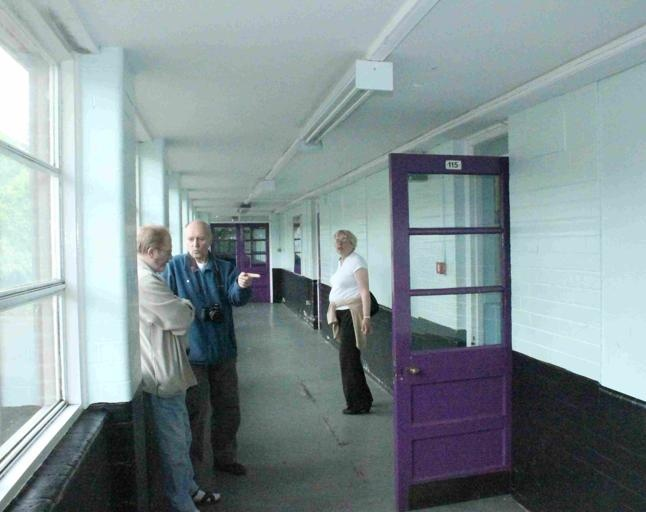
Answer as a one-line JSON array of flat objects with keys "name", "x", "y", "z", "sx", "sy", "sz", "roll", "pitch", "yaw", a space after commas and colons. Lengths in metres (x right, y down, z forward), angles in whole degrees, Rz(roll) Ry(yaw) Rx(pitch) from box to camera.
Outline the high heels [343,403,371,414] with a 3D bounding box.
[{"name": "high heels", "x": 0.312, "y": 1.422, "z": 4.726, "sx": 0.270, "sy": 0.113, "sz": 0.097, "roll": 3, "pitch": -1, "yaw": -12}]

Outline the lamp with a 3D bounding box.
[{"name": "lamp", "x": 0.088, "y": -0.927, "z": 3.462, "sx": 0.234, "sy": 0.111, "sz": 1.563, "roll": -2, "pitch": 4, "yaw": -13}]

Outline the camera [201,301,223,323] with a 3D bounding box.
[{"name": "camera", "x": -0.736, "y": 0.379, "z": 3.359, "sx": 0.120, "sy": 0.118, "sz": 0.043, "roll": 10, "pitch": -7, "yaw": -6}]

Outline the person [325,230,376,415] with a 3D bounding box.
[{"name": "person", "x": 0.272, "y": 0.616, "z": 4.645, "sx": 0.304, "sy": 1.686, "sz": 0.611, "roll": -3, "pitch": 5, "yaw": -28}]

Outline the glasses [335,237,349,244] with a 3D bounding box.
[{"name": "glasses", "x": 0.168, "y": -0.147, "z": 4.661, "sx": 0.112, "sy": 0.047, "sz": 0.044, "roll": 0, "pitch": 4, "yaw": 14}]

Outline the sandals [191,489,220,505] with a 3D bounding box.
[{"name": "sandals", "x": -0.755, "y": 1.536, "z": 3.250, "sx": 0.181, "sy": 0.064, "sz": 0.077, "roll": 1, "pitch": 7, "yaw": -8}]
